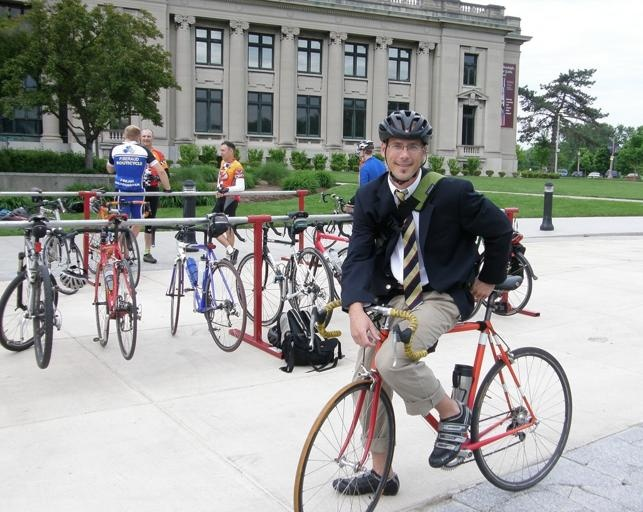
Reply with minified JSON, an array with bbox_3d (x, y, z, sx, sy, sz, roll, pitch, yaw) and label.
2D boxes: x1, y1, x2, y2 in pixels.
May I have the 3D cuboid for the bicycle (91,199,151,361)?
[{"bbox_3d":[-2.219,0.310,7.470,0.492,1.242,2.052,-1,14,-29],"label":"bicycle"}]

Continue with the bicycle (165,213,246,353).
[{"bbox_3d":[-1.328,0.285,7.782,0.484,1.415,1.913,-13,12,-37],"label":"bicycle"}]

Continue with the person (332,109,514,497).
[{"bbox_3d":[0.660,0.393,4.639,1.093,2.670,0.855,2,12,3],"label":"person"}]

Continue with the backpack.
[{"bbox_3d":[-0.165,0.902,7.312,0.628,0.401,1.014,4,13,-18],"label":"backpack"}]

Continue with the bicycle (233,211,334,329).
[{"bbox_3d":[-0.439,0.220,8.064,0.952,1.285,1.884,-10,4,-39],"label":"bicycle"}]

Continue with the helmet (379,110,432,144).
[{"bbox_3d":[0.569,-0.861,4.667,0.375,0.231,0.542,5,1,11],"label":"helmet"}]

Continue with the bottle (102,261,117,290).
[{"bbox_3d":[-2.236,0.219,7.312,0.079,0.284,0.157,2,0,37],"label":"bottle"}]

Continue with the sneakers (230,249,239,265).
[{"bbox_3d":[-1.136,0.019,9.025,0.076,0.198,0.064,12,25,6],"label":"sneakers"}]

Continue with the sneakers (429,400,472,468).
[{"bbox_3d":[0.844,1.172,4.538,0.179,0.478,0.177,30,-20,-30],"label":"sneakers"}]
